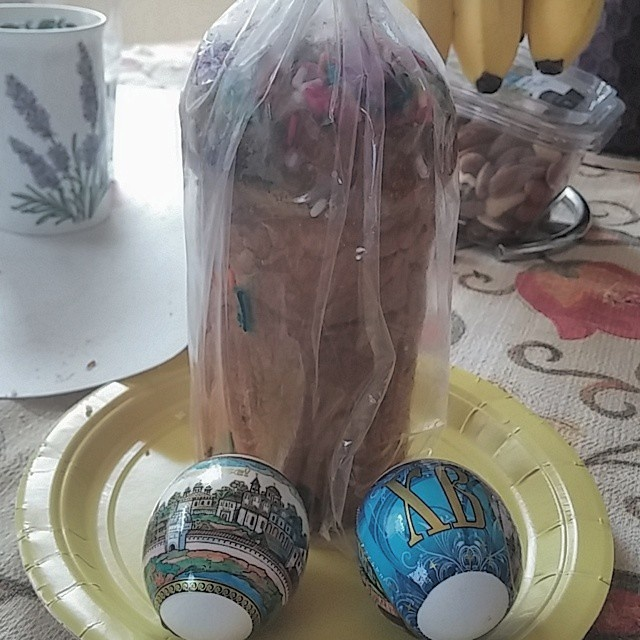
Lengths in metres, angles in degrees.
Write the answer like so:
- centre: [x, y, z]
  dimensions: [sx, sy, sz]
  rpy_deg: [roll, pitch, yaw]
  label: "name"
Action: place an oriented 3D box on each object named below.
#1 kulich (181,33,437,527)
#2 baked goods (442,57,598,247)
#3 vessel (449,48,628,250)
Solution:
- centre: [-0.008, -0.006, 0.492]
  dimensions: [0.143, 0.229, 0.185]
  rpy_deg: [0, 57, -2]
  label: "kulich"
- centre: [0.184, -0.166, 0.891]
  dimensions: [0.170, 0.153, 0.156]
  rpy_deg: [-5, 27, -2]
  label: "baked goods"
- centre: [0.212, -0.170, 0.910]
  dimensions: [0.179, 0.154, 0.181]
  rpy_deg: [-1, 34, 0]
  label: "vessel"
